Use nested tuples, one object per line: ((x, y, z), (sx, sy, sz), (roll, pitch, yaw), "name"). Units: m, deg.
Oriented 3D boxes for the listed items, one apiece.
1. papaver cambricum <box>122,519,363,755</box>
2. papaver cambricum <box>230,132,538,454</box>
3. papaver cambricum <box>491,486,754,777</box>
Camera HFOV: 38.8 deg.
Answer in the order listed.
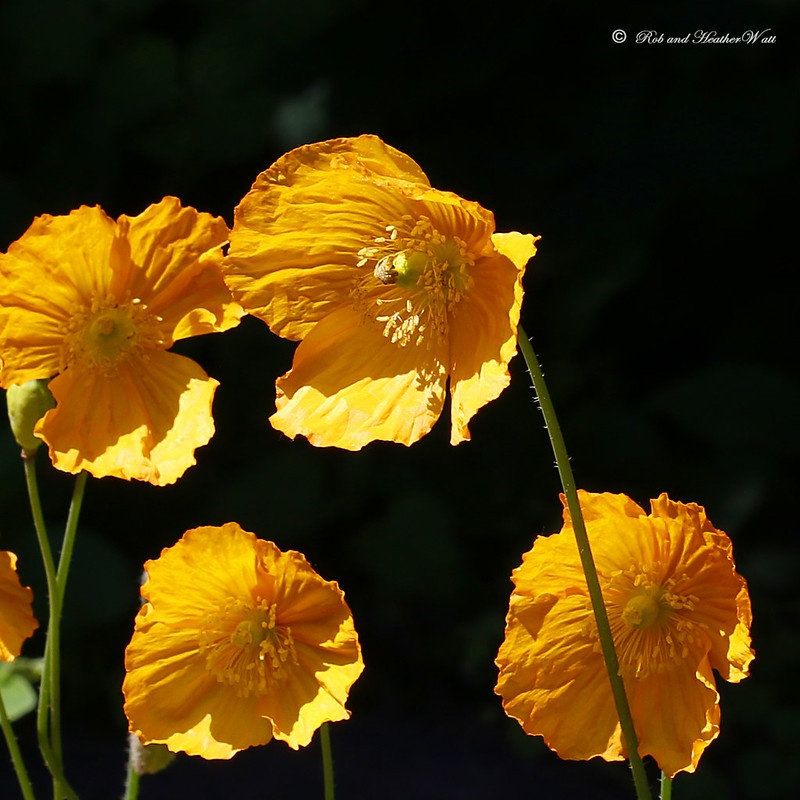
((-0.195, 0.307, 1.392), (0.294, 0.305, 0.125), (14, 20, 3), "papaver cambricum")
((-0.006, -0.126, 1.300), (0.367, 0.350, 0.224), (12, 27, 25), "papaver cambricum")
((0.305, 0.244, 1.433), (0.326, 0.338, 0.144), (-29, -8, 25), "papaver cambricum")
